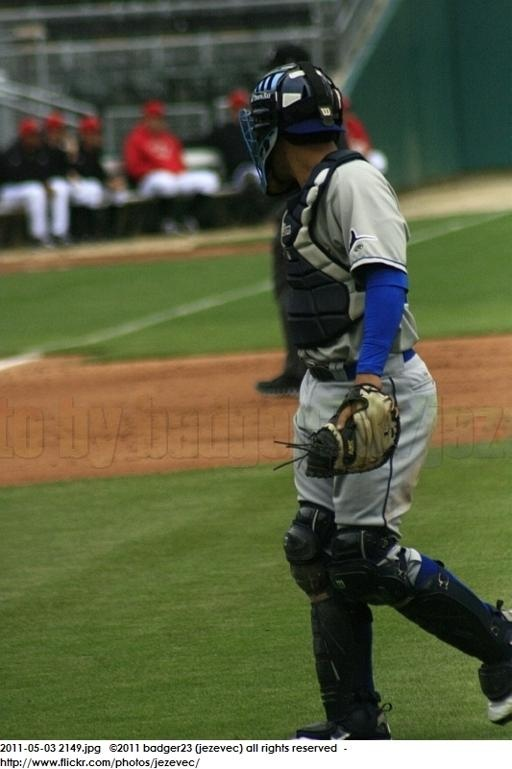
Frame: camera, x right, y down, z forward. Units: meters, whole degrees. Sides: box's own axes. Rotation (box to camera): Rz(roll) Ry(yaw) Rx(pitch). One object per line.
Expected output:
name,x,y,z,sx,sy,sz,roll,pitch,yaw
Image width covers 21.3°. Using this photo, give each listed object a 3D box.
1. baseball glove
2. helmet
baseball glove,0.210,0.099,3.175,0.182,0.283,0.164,28,-26,31
helmet,0.106,-0.694,3.439,0.248,0.236,0.282,-5,16,-22
